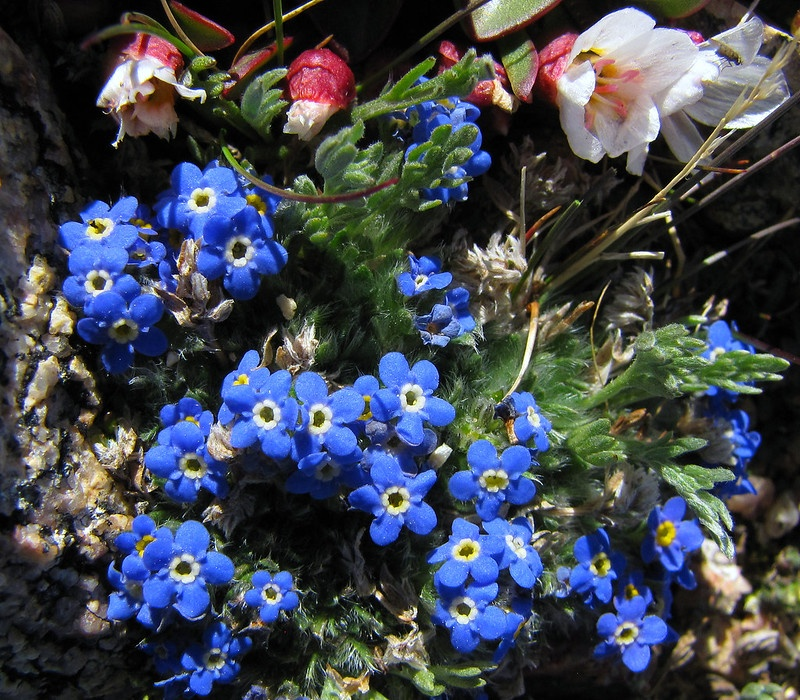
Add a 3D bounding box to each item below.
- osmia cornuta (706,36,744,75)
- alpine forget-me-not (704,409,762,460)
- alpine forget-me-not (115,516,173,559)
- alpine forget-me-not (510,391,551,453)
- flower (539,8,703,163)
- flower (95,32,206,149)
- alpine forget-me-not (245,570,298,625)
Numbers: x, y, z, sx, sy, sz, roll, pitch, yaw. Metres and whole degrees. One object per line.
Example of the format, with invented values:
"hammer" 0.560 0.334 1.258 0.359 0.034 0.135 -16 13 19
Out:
"osmia cornuta" 0.967 -0.874 2.414 0.128 0.052 0.097 -8 53 -26
"alpine forget-me-not" 1.122 0.284 2.721 0.214 0.066 0.144 2 49 -18
"alpine forget-me-not" -0.678 0.491 2.125 0.104 0.032 0.123 -11 71 0
"alpine forget-me-not" 0.352 0.193 2.215 0.137 0.028 0.148 37 49 -37
"flower" 0.644 -0.730 2.328 0.395 0.391 0.269 18 44 -1
"flower" -0.672 -0.696 2.213 0.275 0.217 0.246 3 47 -16
"alpine forget-me-not" -0.339 0.647 2.128 0.132 0.091 0.102 4 47 -16
